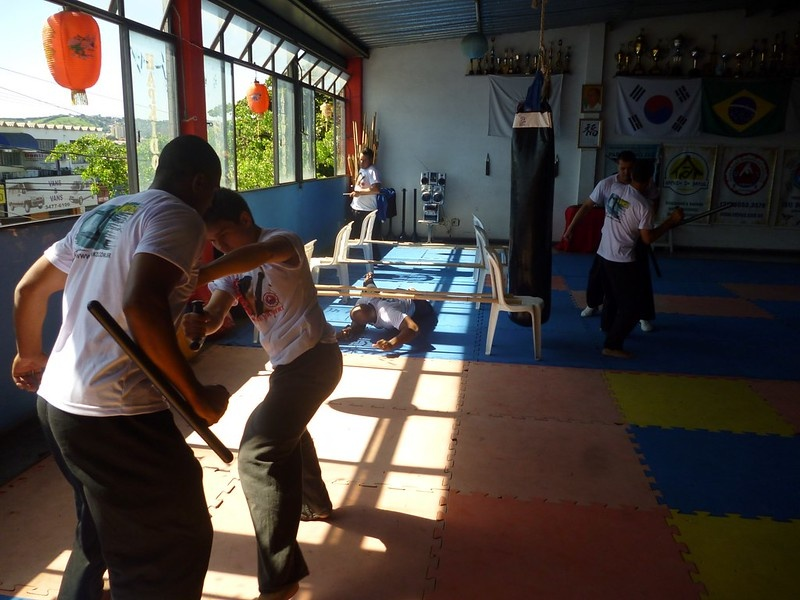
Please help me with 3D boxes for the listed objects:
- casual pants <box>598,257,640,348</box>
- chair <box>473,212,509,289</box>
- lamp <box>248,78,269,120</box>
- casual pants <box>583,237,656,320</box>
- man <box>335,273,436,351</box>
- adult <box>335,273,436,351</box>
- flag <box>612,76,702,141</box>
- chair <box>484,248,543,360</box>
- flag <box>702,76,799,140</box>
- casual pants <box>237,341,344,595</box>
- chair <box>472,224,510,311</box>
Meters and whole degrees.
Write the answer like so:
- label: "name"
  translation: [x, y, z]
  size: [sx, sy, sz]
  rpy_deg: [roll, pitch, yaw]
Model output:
- label: "casual pants"
  translation: [2.107, 0.010, 5.504]
  size: [0.269, 1.076, 0.397]
  rpy_deg: [-9, 24, -2]
- label: "chair"
  translation: [1.327, -0.739, 8.274]
  size: [0.441, 0.916, 1.265]
  rpy_deg: [-1, 19, 0]
- label: "lamp"
  translation: [-1.819, -2.589, 7.398]
  size: [0.267, 0.353, 0.239]
  rpy_deg: [-8, 18, -20]
- label: "casual pants"
  translation: [2.206, -0.188, 5.752]
  size: [0.332, 1.062, 0.834]
  rpy_deg: [-2, 12, -22]
- label: "man"
  translation: [-0.117, 0.161, 5.761]
  size: [0.570, 0.340, 0.931]
  rpy_deg: [14, 31, 35]
- label: "adult"
  translation: [-0.116, 0.166, 5.748]
  size: [0.570, 0.340, 0.932]
  rpy_deg: [14, 31, 35]
- label: "flag"
  translation: [4.799, -3.550, 10.595]
  size: [1.083, 0.951, 0.074]
  rpy_deg: [2, 22, 9]
- label: "chair"
  translation: [1.093, 0.028, 5.480]
  size: [0.533, 0.898, 0.582]
  rpy_deg: [2, 17, 10]
- label: "flag"
  translation: [6.326, -3.482, 10.295]
  size: [0.969, 0.839, 0.084]
  rpy_deg: [0, 8, 9]
- label: "casual pants"
  translation: [-0.501, 0.725, 2.594]
  size: [0.270, 0.956, 0.531]
  rpy_deg: [6, 18, 24]
- label: "chair"
  translation: [1.139, -0.408, 7.175]
  size: [0.439, 0.947, 1.266]
  rpy_deg: [-1, 19, 0]
